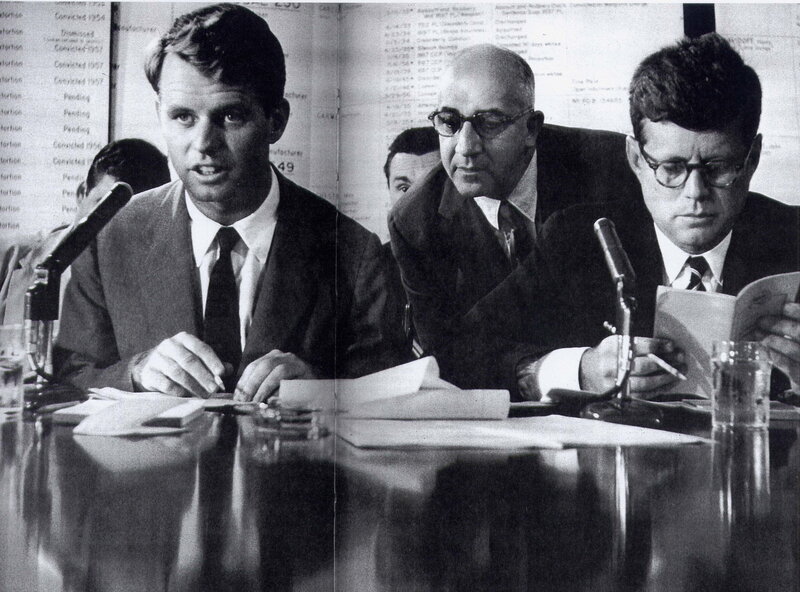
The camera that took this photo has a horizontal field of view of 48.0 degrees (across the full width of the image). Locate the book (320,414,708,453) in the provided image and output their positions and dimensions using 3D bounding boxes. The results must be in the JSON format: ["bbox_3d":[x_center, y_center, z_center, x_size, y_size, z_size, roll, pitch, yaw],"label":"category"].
[{"bbox_3d":[0.347,0.448,2.936,1.181,0.044,0.485,-1,2,1],"label":"book"}]

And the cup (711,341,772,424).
[{"bbox_3d":[1.050,0.277,2.776,0.163,0.283,0.294,-1,1,19],"label":"cup"}]

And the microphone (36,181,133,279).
[{"bbox_3d":[-1.107,-0.231,3.098,0.069,0.355,0.086,39,-11,4],"label":"microphone"}]

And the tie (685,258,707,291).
[{"bbox_3d":[1.037,-0.078,3.126,0.064,0.115,0.027,0,3,4],"label":"tie"}]

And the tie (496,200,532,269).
[{"bbox_3d":[0.404,-0.216,3.126,0.111,0.224,0.050,-6,-4,4],"label":"tie"}]

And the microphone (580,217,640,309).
[{"bbox_3d":[0.720,-0.139,3.162,0.088,0.389,0.104,-14,-18,-6],"label":"microphone"}]
